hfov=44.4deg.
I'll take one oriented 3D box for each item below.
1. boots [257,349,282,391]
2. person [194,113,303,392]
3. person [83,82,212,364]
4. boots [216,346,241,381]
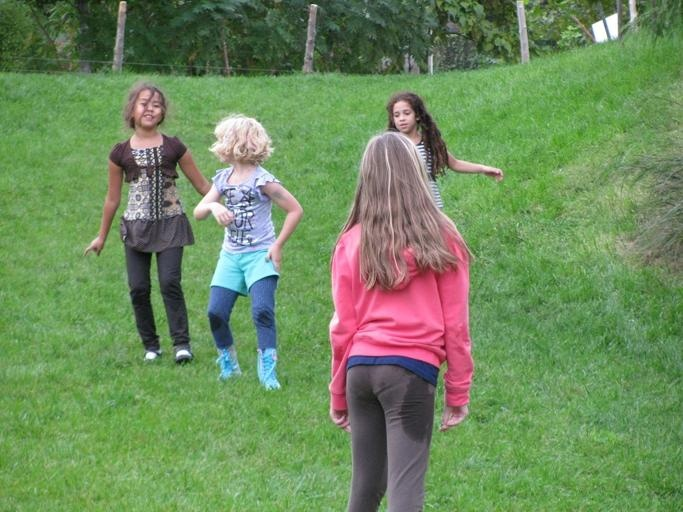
[{"bbox_3d":[-0.818,1.281,9.461,0.164,0.263,0.539,-5,32,-12],"label":"boots"},{"bbox_3d":[-1.050,-0.010,9.307,0.935,3.009,1.046,8,12,38],"label":"person"},{"bbox_3d":[-2.202,-0.393,9.938,1.184,3.234,0.596,3,10,16],"label":"person"},{"bbox_3d":[-1.293,1.266,9.672,0.173,0.442,0.423,-9,-14,-5],"label":"boots"}]
